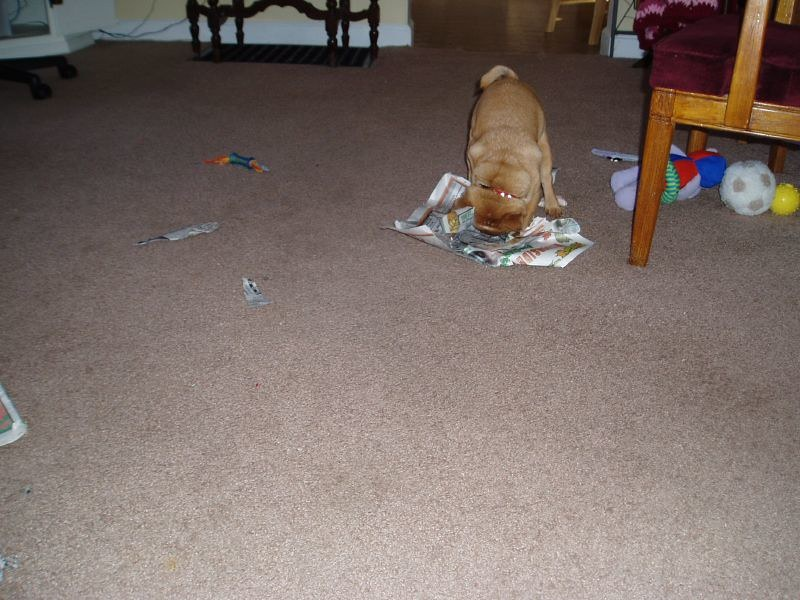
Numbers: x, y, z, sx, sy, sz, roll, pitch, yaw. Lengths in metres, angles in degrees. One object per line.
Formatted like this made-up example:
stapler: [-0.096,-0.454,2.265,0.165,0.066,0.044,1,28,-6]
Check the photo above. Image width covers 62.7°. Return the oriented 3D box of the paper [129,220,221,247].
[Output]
paper: [-0.916,-0.274,2.715,0.360,0.039,0.109,-18,32,-14]

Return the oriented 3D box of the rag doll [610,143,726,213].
rag doll: [1.201,-0.549,2.860,0.513,0.208,0.269,-21,41,-10]

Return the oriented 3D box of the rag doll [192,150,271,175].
rag doll: [-0.835,-0.684,3.268,0.349,0.108,0.132,3,21,16]

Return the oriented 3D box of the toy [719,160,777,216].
toy: [1.431,-0.479,2.799,0.215,0.255,0.226,1,9,4]

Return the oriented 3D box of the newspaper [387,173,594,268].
newspaper: [0.383,-0.323,2.698,0.757,0.196,0.455,19,30,31]
